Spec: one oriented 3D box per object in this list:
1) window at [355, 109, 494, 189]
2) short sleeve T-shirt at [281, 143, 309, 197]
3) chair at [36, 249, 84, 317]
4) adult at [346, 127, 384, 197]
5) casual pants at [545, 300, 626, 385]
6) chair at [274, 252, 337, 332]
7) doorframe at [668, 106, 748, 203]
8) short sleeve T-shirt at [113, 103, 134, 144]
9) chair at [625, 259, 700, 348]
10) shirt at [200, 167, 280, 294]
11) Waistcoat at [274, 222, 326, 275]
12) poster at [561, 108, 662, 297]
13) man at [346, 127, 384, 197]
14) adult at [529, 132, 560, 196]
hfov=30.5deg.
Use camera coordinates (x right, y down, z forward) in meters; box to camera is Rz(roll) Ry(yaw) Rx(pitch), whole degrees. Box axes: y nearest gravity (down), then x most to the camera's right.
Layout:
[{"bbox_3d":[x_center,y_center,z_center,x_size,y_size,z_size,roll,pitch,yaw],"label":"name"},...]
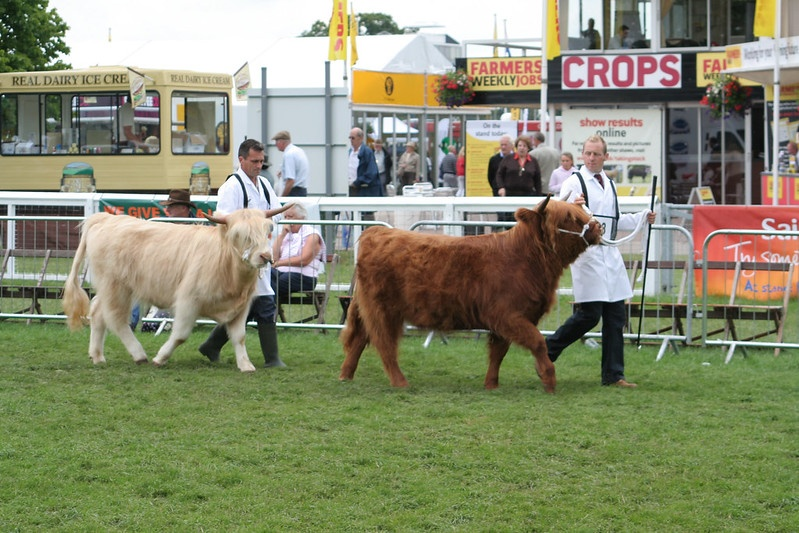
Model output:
[{"bbox_3d":[1.311,-3.120,40.358,2.017,2.678,3.910,-10,1,15],"label":"window"},{"bbox_3d":[-1.880,-1.734,26.110,0.473,0.835,0.876,-2,2,11],"label":"short sleeve T-shirt"},{"bbox_3d":[-5.211,0.242,22.382,0.870,1.273,1.233,0,2,-8],"label":"chair"},{"bbox_3d":[-0.685,-1.979,28.034,0.581,1.280,0.955,-1,4,-3],"label":"adult"},{"bbox_3d":[2.451,0.902,19.793,1.257,1.421,0.844,0,9,-4],"label":"casual pants"},{"bbox_3d":[-1.284,0.334,22.250,0.931,1.391,1.021,-1,-7,22],"label":"chair"},{"bbox_3d":[7.524,-2.728,35.598,2.402,3.446,0.177,0,2,14],"label":"doorframe"},{"bbox_3d":[-5.812,-3.019,30.829,0.306,0.823,0.729,3,5,-11],"label":"short sleeve T-shirt"},{"bbox_3d":[3.909,0.621,22.271,1.464,1.482,1.139,-2,-3,25],"label":"chair"},{"bbox_3d":[-1.974,-0.547,20.569,0.748,1.660,0.484,-14,25,-16],"label":"shirt"},{"bbox_3d":[-1.441,-0.237,22.380,0.793,0.911,0.677,5,-2,23],"label":"Waistcoat"},{"bbox_3d":[2.709,-0.326,19.817,1.310,2.807,0.992,-2,3,-28],"label":"poster"},{"bbox_3d":[-0.691,-1.979,28.034,0.567,1.280,0.896,-1,4,-3],"label":"man"},{"bbox_3d":[2.707,-1.857,27.660,0.522,1.289,0.452,-10,20,-17],"label":"adult"}]
